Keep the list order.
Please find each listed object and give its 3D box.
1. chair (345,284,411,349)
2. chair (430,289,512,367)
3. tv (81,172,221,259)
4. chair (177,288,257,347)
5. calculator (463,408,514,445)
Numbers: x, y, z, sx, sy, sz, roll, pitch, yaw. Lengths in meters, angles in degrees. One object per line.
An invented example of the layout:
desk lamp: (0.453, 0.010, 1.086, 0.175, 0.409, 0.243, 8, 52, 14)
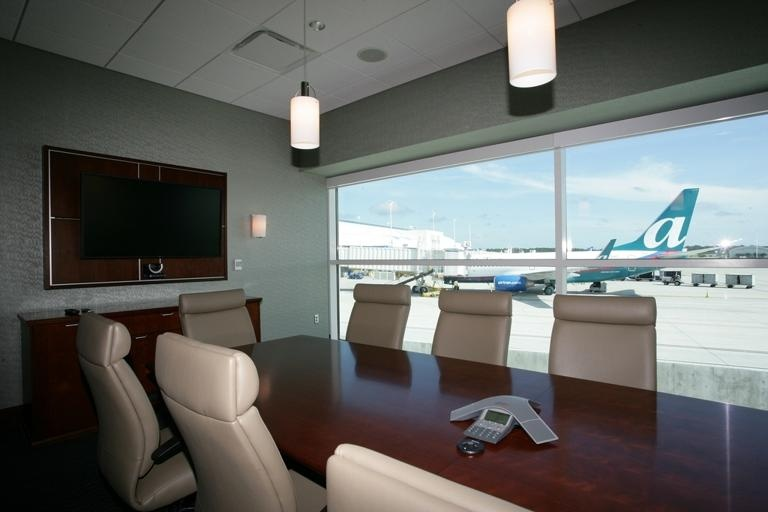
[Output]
chair: (-0.040, 0.601, 4.990, 0.541, 0.856, 0.729, 1, -4, 25)
chair: (0.978, 0.665, 4.742, 0.658, 0.865, 0.721, 1, -6, 27)
tv: (-2.905, -0.501, 6.033, 0.044, 0.667, 1.186, 5, 5, 44)
chair: (-1.676, 0.559, 5.016, 0.694, 0.751, 0.578, -1, -1, 44)
calculator: (0.697, 1.078, 3.203, 0.350, 0.103, 0.254, -12, 10, -38)
